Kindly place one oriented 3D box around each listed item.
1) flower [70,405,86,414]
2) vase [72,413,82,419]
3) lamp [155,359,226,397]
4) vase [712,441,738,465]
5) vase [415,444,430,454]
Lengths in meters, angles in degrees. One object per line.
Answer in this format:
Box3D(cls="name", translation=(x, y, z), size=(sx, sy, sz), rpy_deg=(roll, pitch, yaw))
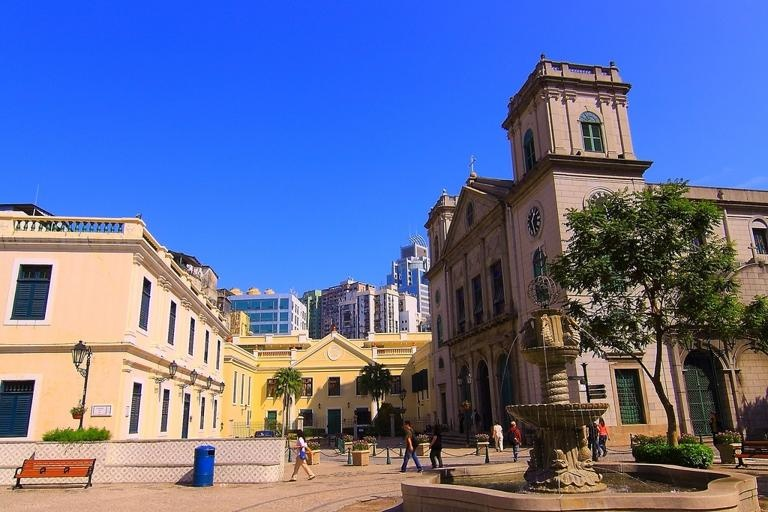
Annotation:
Box3D(cls="flower", translation=(-14.401, 7.175, 25.934), size=(0.383, 0.213, 0.384), rpy_deg=(3, -5, -10))
Box3D(cls="vase", translation=(-14.344, 7.468, 25.866), size=(0.307, 0.189, 0.310), rpy_deg=(-4, -19, 14))
Box3D(cls="lamp", translation=(-12.260, 7.838, 35.108), size=(1.218, 1.121, 4.420), rpy_deg=(-17, -35, 24))
Box3D(cls="vase", translation=(15.880, 9.056, 25.510), size=(1.125, 0.959, 1.050), rpy_deg=(6, -15, 2))
Box3D(cls="vase", translation=(2.330, 11.830, 33.895), size=(0.652, 0.791, 0.849), rpy_deg=(-5, -12, 25))
